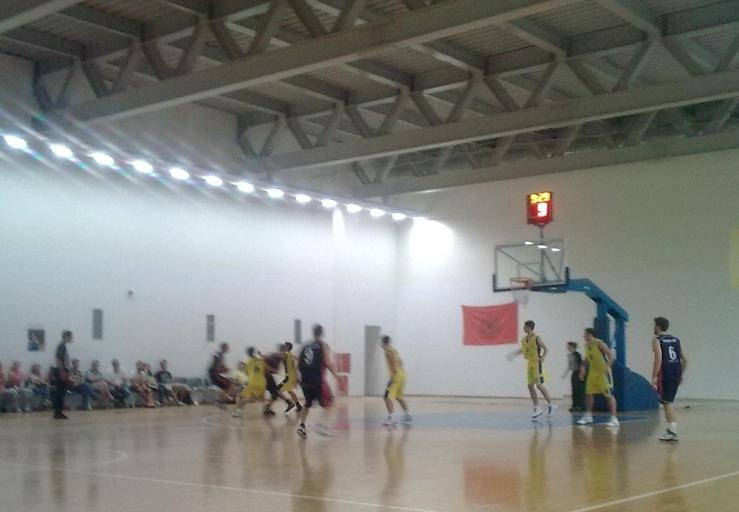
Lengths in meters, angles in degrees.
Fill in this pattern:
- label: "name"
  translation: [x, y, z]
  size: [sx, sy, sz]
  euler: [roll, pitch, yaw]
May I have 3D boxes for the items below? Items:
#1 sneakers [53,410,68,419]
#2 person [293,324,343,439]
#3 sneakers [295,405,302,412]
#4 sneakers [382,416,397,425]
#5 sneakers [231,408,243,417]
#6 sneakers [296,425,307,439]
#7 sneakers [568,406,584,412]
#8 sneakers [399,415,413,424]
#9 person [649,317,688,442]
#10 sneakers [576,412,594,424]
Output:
- label: "sneakers"
  translation: [-7.169, 3.697, 15.125]
  size: [0.378, 0.266, 0.151]
  euler: [0, -4, -10]
- label: "person"
  translation: [-1.040, 2.347, 12.202]
  size: [0.836, 2.089, 0.839]
  euler: [4, -4, -24]
- label: "sneakers"
  translation: [-1.864, 4.070, 17.306]
  size: [0.152, 0.204, 0.478]
  euler: [1, -15, -6]
- label: "sneakers"
  translation: [0.454, 3.619, 14.297]
  size: [0.367, 0.147, 0.121]
  euler: [3, -6, -16]
- label: "sneakers"
  translation: [-3.353, 3.996, 16.576]
  size: [0.238, 0.269, 0.250]
  euler: [-14, -18, 43]
- label: "sneakers"
  translation: [-1.225, 3.280, 12.203]
  size: [0.131, 0.165, 0.364]
  euler: [4, -10, 20]
- label: "sneakers"
  translation: [5.610, 4.142, 17.627]
  size: [0.211, 0.074, 0.215]
  euler: [-3, -7, 32]
- label: "sneakers"
  translation: [0.841, 3.748, 14.883]
  size: [0.221, 0.156, 0.360]
  euler: [1, -13, -2]
- label: "person"
  translation: [5.638, 2.257, 12.195]
  size: [0.569, 2.287, 1.555]
  euler: [-4, -11, 26]
- label: "sneakers"
  translation: [4.780, 3.596, 14.360]
  size: [0.208, 0.278, 0.597]
  euler: [-11, -19, 38]
